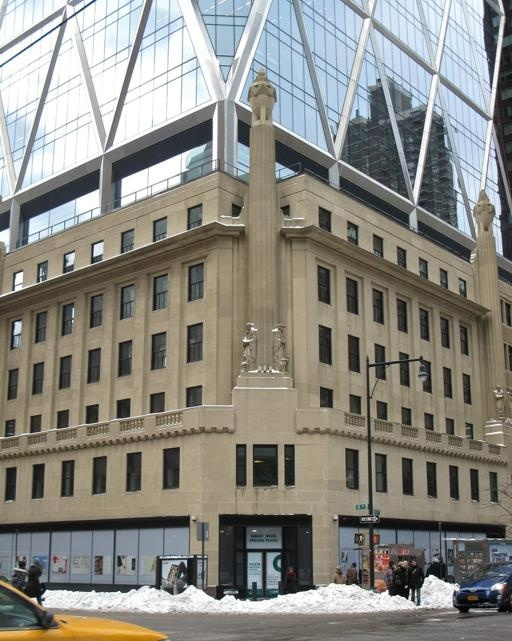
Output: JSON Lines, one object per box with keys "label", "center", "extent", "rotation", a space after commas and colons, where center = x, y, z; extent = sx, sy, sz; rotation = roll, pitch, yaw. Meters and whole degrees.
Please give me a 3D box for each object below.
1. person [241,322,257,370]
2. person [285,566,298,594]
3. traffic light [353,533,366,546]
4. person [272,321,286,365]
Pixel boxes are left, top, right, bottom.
{"label": "person", "center": [-0.322, 1.489, 40.100], "extent": [0.861, 2.728, 0.740], "rotation": [-1, -21, -2]}
{"label": "person", "center": [1.650, 12.271, 34.390], "extent": [0.519, 1.197, 1.316], "rotation": [-1, -21, 0]}
{"label": "traffic light", "center": [5.239, 10.983, 36.481], "extent": [0.411, 0.669, 1.910], "rotation": [-6, -22, 12]}
{"label": "person", "center": [1.287, 1.536, 40.445], "extent": [0.635, 2.519, 0.832], "rotation": [-5, -21, 9]}
